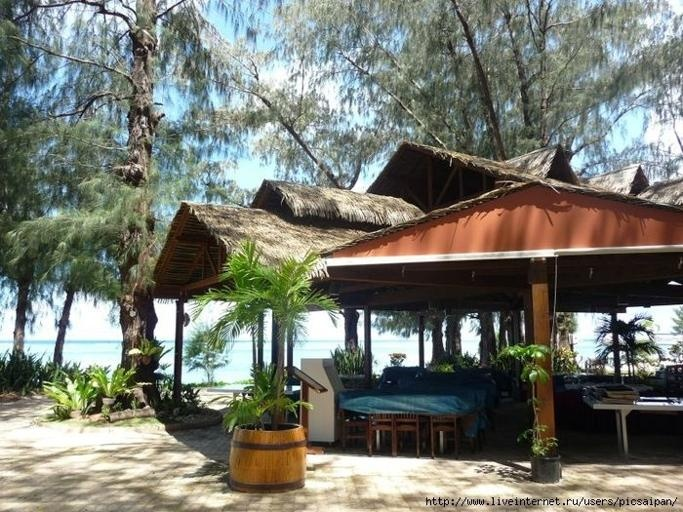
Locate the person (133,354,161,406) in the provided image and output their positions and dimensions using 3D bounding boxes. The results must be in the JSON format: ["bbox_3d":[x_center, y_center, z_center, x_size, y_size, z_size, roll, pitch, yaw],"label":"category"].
[{"bbox_3d":[-4.958,3.177,16.007,0.667,1.276,0.480,1,-1,-33],"label":"person"}]

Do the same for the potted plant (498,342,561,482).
[{"bbox_3d":[3.544,2.803,11.375,0.858,2.415,1.117,0,-1,25],"label":"potted plant"}]

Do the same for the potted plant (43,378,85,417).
[{"bbox_3d":[-6.749,3.493,15.385,1.157,0.697,1.130,21,-18,-40],"label":"potted plant"}]

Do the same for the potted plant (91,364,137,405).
[{"bbox_3d":[-5.772,3.110,15.523,0.796,0.596,0.892,-12,-28,25],"label":"potted plant"}]
